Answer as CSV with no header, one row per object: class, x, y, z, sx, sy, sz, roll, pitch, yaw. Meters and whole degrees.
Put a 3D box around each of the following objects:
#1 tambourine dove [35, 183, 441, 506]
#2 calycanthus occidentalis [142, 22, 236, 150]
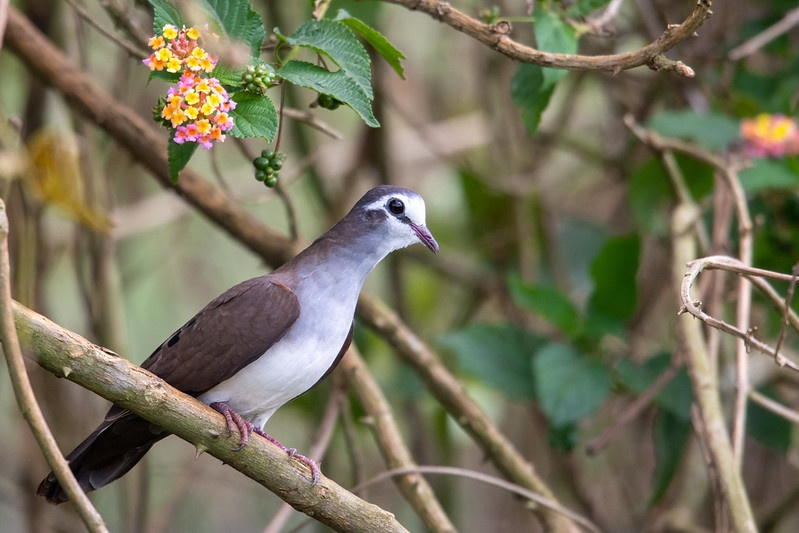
tambourine dove,-0.437,0.412,3.619,1.936,1.379,0.689,-1,-29,13
calycanthus occidentalis,-0.620,-0.528,2.858,0.315,0.350,0.342,11,-72,62
